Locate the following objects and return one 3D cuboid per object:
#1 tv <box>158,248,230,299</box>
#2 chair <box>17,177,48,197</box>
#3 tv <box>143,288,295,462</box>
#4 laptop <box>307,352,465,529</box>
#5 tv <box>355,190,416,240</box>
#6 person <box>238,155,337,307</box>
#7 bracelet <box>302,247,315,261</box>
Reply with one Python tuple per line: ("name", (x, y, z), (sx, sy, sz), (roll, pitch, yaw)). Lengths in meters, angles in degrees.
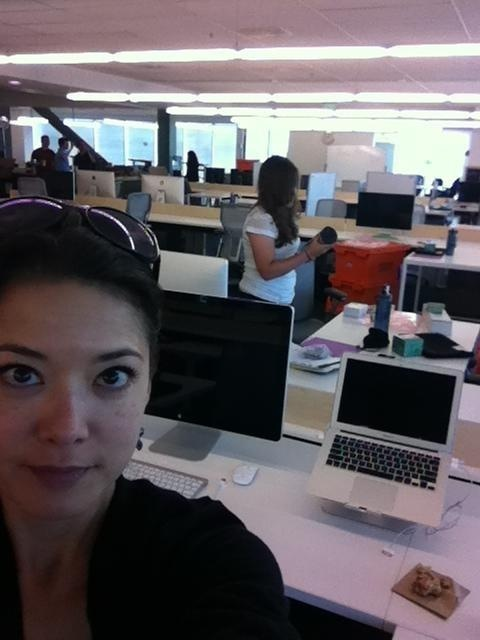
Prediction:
("tv", (-0.108, -0.128, 1.383), (0.200, 0.153, 0.265), (4, 6, -6))
("chair", (-2.741, -1.778, 6.682), (0.288, 0.210, 0.519), (-3, 14, -26))
("tv", (-0.134, 0.109, 1.525), (0.555, 0.385, 0.272), (9, 6, -24))
("laptop", (0.380, 0.299, 1.307), (0.392, 0.256, 0.417), (12, 34, 22))
("tv", (1.697, -1.202, 5.882), (0.688, 0.464, 0.194), (9, 32, 20))
("person", (0.295, -0.313, 3.046), (0.562, 1.293, 0.452), (-3, 29, -3))
("bracelet", (0.391, -0.347, 2.804), (0.024, 0.084, 0.088), (-27, 30, -6))
